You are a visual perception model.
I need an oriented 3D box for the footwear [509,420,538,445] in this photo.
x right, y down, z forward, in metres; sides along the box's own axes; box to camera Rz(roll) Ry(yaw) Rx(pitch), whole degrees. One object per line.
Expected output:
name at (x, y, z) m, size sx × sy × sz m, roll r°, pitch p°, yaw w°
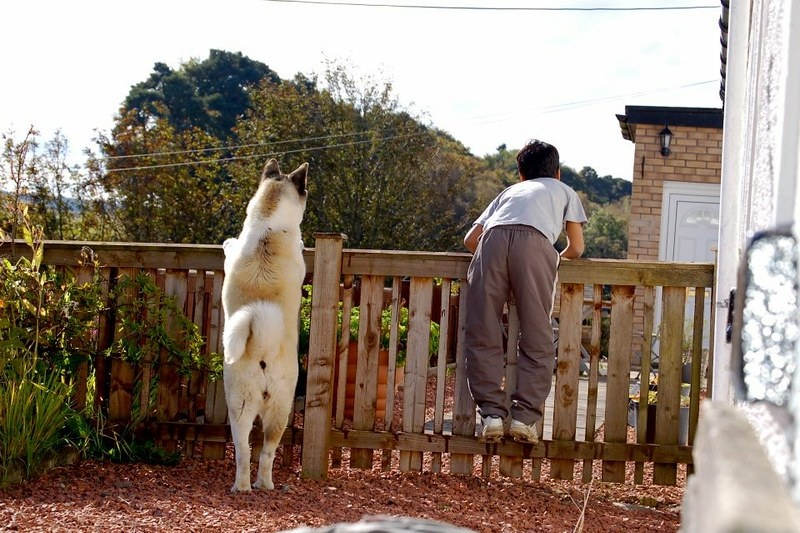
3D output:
footwear at (2.342, 3.081, 19.597) m, size 0.604 × 0.475 × 0.303 m, roll 2°, pitch -2°, yaw -10°

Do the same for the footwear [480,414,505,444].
footwear at (1.755, 3.029, 19.649) m, size 0.443 × 0.513 × 0.345 m, roll 1°, pitch -2°, yaw 4°

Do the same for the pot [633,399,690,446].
pot at (5.206, 3.052, 20.795) m, size 0.940 × 0.884 × 0.936 m, roll 1°, pitch -3°, yaw 0°

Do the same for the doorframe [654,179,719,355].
doorframe at (7.945, -0.003, 27.902) m, size 1.644 × 4.940 × 0.374 m, roll 5°, pitch 39°, yaw 17°

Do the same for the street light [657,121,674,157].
street light at (6.911, -3.287, 27.119) m, size 0.342 × 0.790 × 0.326 m, roll 1°, pitch -2°, yaw 12°
